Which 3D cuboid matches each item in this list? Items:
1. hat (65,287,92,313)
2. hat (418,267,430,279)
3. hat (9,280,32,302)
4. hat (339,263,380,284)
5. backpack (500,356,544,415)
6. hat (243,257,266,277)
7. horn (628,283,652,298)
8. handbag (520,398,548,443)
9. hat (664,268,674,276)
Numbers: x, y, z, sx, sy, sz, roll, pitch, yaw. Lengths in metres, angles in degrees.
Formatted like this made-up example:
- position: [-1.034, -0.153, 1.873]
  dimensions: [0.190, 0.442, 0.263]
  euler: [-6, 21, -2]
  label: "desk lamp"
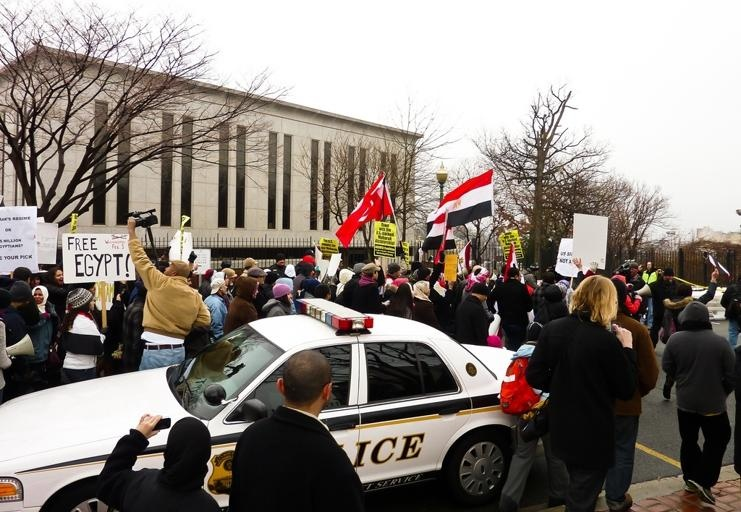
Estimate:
- position: [-4.070, 0.594, 8.784]
  dimensions: [0.320, 0.151, 0.278]
  euler: [-23, 17, -2]
  label: "hat"
- position: [1.006, 0.334, 12.258]
  dimensions: [0.228, 0.247, 0.174]
  euler: [-21, 30, -33]
  label: "hat"
- position: [-4.897, 0.489, 8.861]
  dimensions: [0.212, 0.207, 0.301]
  euler: [4, 9, -37]
  label: "hat"
- position: [-0.301, 0.320, 13.304]
  dimensions: [0.614, 0.279, 0.494]
  euler: [-2, -1, -12]
  label: "hat"
- position: [1.821, 1.585, 7.757]
  dimensions: [0.457, 0.743, 0.545]
  euler: [2, -12, 6]
  label: "backpack"
- position: [-3.159, 0.278, 17.207]
  dimensions: [0.531, 0.283, 0.349]
  euler: [19, 23, 41]
  label: "hat"
- position: [6.725, 0.889, 15.774]
  dimensions: [0.659, 0.385, 0.439]
  euler: [-5, 5, -20]
  label: "horn"
- position: [1.922, 1.910, 7.464]
  dimensions: [0.204, 0.383, 0.387]
  euler: [36, 27, -1]
  label: "handbag"
- position: [7.252, 0.386, 15.435]
  dimensions: [0.185, 0.166, 0.202]
  euler: [5, 5, 33]
  label: "hat"
